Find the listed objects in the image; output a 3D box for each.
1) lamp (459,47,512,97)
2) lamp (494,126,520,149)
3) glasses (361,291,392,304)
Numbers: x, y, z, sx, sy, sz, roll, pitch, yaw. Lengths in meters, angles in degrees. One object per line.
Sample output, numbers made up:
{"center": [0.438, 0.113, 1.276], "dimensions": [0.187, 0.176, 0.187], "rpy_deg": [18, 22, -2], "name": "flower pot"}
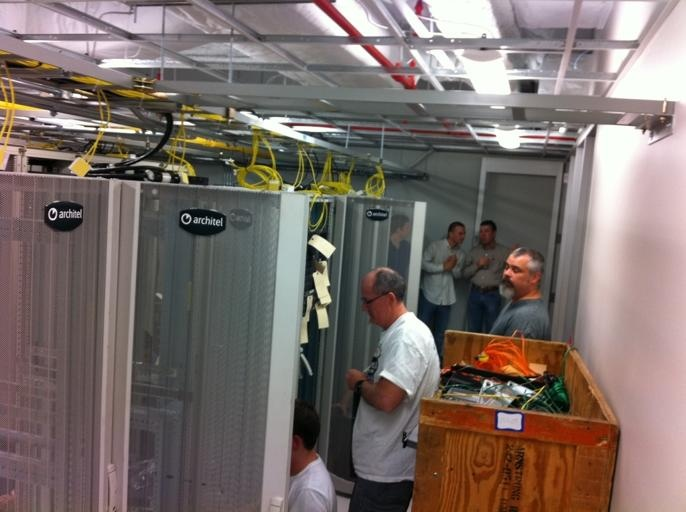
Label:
{"center": [0.651, -0.844, 2.520], "dimensions": [0.173, 0.164, 0.415], "rpy_deg": [8, 6, 23], "name": "lamp"}
{"center": [1.173, -0.851, 3.946], "dimensions": [0.177, 0.113, 0.369], "rpy_deg": [7, 5, 14], "name": "lamp"}
{"center": [0.161, 0.214, 2.791], "dimensions": [0.083, 0.022, 0.079], "rpy_deg": [-25, 1, -13], "name": "glasses"}
